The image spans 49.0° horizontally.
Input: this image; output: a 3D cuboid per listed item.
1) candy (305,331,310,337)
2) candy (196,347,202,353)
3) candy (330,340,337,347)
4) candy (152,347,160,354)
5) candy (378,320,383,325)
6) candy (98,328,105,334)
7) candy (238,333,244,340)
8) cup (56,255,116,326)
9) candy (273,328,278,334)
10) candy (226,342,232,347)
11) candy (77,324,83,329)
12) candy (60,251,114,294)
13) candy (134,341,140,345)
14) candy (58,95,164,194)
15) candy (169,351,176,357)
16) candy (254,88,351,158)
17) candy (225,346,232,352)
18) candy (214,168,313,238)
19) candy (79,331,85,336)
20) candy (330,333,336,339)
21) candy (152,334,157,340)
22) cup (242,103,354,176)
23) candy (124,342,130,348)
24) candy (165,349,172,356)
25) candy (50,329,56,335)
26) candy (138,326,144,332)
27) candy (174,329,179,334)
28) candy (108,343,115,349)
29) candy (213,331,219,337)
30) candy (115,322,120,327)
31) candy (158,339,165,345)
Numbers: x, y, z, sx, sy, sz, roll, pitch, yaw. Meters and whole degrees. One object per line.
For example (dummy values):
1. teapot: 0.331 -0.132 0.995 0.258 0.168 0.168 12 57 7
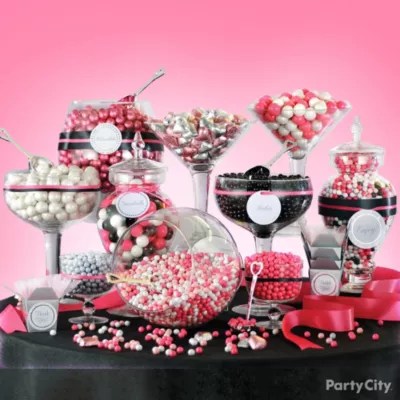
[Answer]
1. candy: 0.199 0.248 0.817 0.011 0.004 0.010 -4 6 -28
2. candy: -0.002 0.253 0.740 0.012 0.007 0.010 0 -4 5
3. candy: 0.233 0.249 0.765 0.011 0.005 0.010 12 -5 -18
4. candy: -0.074 0.252 0.737 0.011 0.010 0.006 -7 -18 5
5. candy: 0.368 0.250 0.898 0.012 0.008 0.010 0 -3 -3
6. candy: -0.191 0.253 0.849 0.012 0.005 0.010 -8 28 -9
7. candy: 0.073 0.244 0.790 0.011 0.009 0.006 -1 -1 14
8. cup: -0.238 0.185 0.933 0.176 0.156 0.144 0 -2 -7
9. candy: 0.143 0.250 0.839 0.009 0.009 0.008 5 11 26
10. candy: 0.050 0.250 0.762 0.011 0.004 0.010 -1 0 -35
11. candy: -0.239 0.252 0.876 0.009 0.005 0.008 3 -10 11
12. candy: -0.243 0.151 0.934 0.118 0.050 0.097 0 -2 -7
13. candy: -0.112 0.252 0.776 0.009 0.005 0.008 0 -16 -6
14. candy: -0.254 -0.170 1.352 0.350 0.198 0.300 0 2 -5
15. candy: -0.045 0.253 0.724 0.011 0.007 0.009 3 -11 6
16. candy: 0.254 -0.211 1.243 0.273 0.189 0.222 -1 11 -2
17. candy: 0.048 0.251 0.744 0.011 0.010 0.006 37 5 4
18. candy: 0.148 0.003 0.990 0.218 0.098 0.178 0 2 -2
19. candy: -0.221 0.248 0.821 0.009 0.004 0.009 19 23 39
20. candy: 0.244 0.248 0.806 0.012 0.009 0.006 5 4 30
21. candy: -0.083 0.251 0.810 0.009 0.008 0.009 -22 19 -36
22. cup: 0.255 -0.183 1.317 0.305 0.222 0.232 -1 8 0
23. candy: -0.127 0.254 0.768 0.011 0.004 0.009 -9 21 -13
24. candy: -0.052 0.252 0.730 0.010 0.005 0.009 -22 -17 -48
25. candy: -0.281 0.253 0.838 0.012 0.006 0.012 -16 24 -38
26. candy: -0.113 0.251 0.858 0.011 0.007 0.010 6 16 20
27. candy: -0.044 0.245 0.820 0.012 0.009 0.006 -24 -23 -2
28. candy: -0.153 0.253 0.765 0.011 0.004 0.011 -19 26 -37
29. candy: 0.029 0.251 0.822 0.012 0.008 0.010 -2 -14 19
30. candy: -0.166 0.250 0.885 0.012 0.010 0.010 2 -39 -18
31. candy: -0.070 0.248 0.767 0.011 0.005 0.010 1 6 -4
